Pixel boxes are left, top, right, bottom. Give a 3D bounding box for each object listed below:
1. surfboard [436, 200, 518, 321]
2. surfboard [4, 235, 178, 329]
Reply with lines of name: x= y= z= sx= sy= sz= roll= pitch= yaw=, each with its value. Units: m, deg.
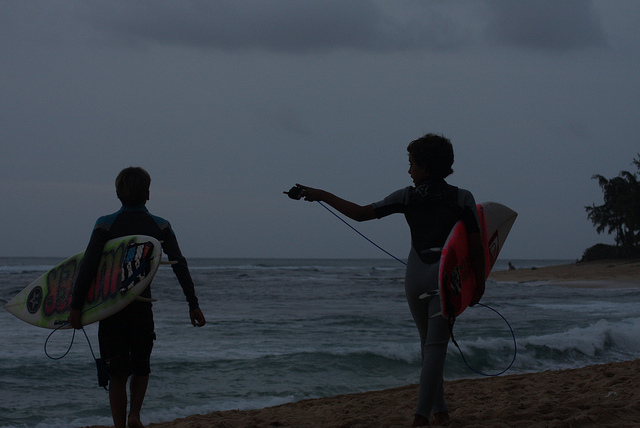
surfboard: x=2.521 y=0.753 z=13.037 sx=0.604 sy=1.870 sz=1.813 roll=2 pitch=2 yaw=30
surfboard: x=-3.746 y=1.134 z=12.998 sx=2.526 sy=1.617 sz=0.771 roll=2 pitch=2 yaw=23
